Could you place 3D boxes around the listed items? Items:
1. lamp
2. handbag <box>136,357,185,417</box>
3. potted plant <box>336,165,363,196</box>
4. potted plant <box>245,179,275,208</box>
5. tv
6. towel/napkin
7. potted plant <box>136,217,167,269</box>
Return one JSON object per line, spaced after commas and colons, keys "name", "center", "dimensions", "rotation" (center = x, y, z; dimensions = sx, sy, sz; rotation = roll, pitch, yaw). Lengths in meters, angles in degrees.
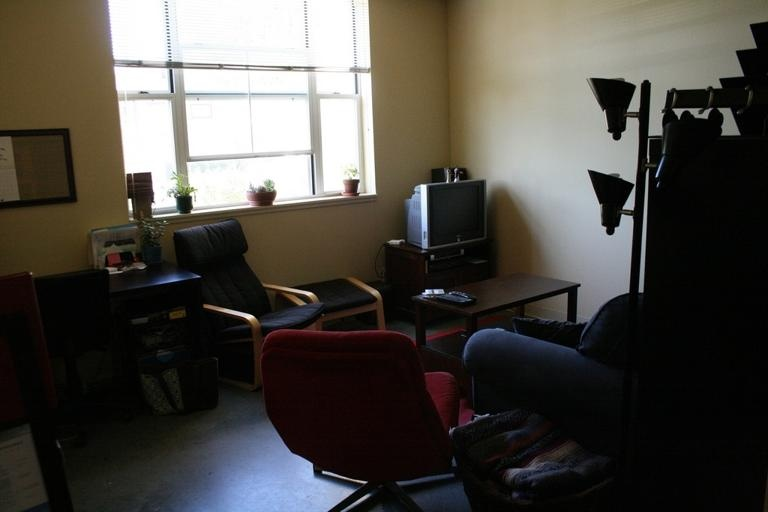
{"name": "lamp", "center": [1.313, -0.398, 3.255], "dimensions": [0.286, 1.145, 1.635], "rotation": [0, 12, 24]}
{"name": "handbag", "center": [-1.528, 0.924, 4.047], "dimensions": [0.358, 0.472, 0.079], "rotation": [7, 27, 7]}
{"name": "potted plant", "center": [-0.312, -0.725, 5.672], "dimensions": [0.258, 0.383, 0.254], "rotation": [-1, -1, -4]}
{"name": "potted plant", "center": [-1.085, -0.562, 5.195], "dimensions": [0.234, 0.203, 0.234], "rotation": [-4, 11, -23]}
{"name": "tv", "center": [0.633, -0.442, 5.639], "dimensions": [0.864, 0.722, 0.600], "rotation": [-9, 15, -28]}
{"name": "towel/napkin", "center": [0.705, 0.986, 2.930], "dimensions": [0.422, 0.128, 0.425], "rotation": [-9, 18, -23]}
{"name": "potted plant", "center": [-1.808, -0.096, 4.592], "dimensions": [0.320, 0.427, 0.308], "rotation": [-3, 8, -31]}
